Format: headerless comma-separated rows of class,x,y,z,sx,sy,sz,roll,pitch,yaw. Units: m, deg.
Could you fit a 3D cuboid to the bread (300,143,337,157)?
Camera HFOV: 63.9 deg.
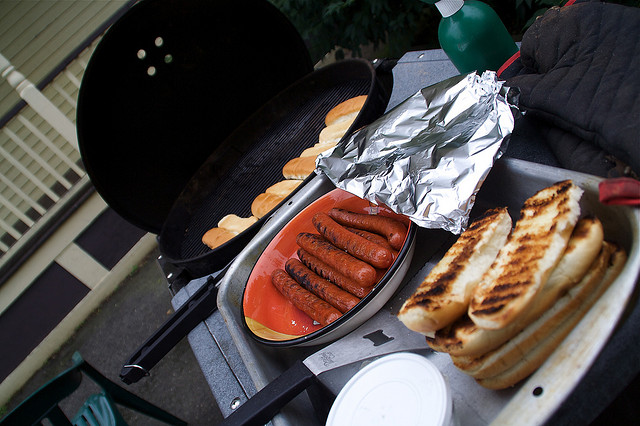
bread,-0.015,-0.356,2.896,0.137,0.033,0.092,-11,34,30

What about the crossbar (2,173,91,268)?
crossbar,-3.426,0.126,6.411,0.081,0.202,1.585,-18,29,50

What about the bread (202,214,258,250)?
bread,-0.518,0.054,2.903,0.290,0.190,0.289,-19,21,-30

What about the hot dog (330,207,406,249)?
hot dog,0.215,0.042,2.311,0.385,0.122,0.102,20,74,45

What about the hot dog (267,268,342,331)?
hot dog,-0.079,0.363,2.278,0.123,0.115,0.436,-30,50,-24

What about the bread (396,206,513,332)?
bread,0.445,0.189,2.031,0.439,0.455,0.461,-15,26,-30

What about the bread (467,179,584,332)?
bread,0.752,0.122,1.854,0.257,0.107,0.748,-1,34,47

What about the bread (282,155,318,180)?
bread,-0.117,-0.252,2.854,0.226,0.070,0.125,-13,45,56
